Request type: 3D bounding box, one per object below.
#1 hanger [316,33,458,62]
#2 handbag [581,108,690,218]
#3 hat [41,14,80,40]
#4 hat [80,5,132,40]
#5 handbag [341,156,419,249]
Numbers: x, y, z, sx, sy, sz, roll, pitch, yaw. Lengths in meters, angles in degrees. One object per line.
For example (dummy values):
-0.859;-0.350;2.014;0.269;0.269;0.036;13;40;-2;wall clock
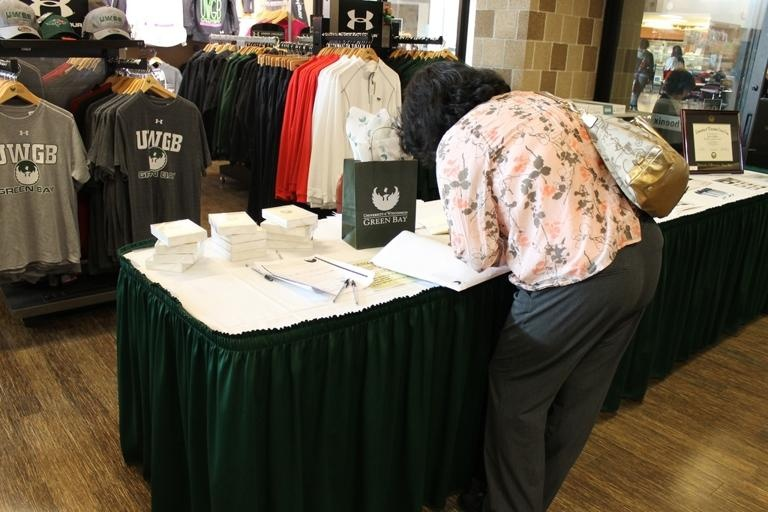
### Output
0.007;-1.845;4.841;1.168;0.244;0.584;-19;27;-39;hanger
1.007;-0.371;2.225;0.381;0.400;0.309;-7;20;-15;handbag
-2.276;-1.541;3.805;0.188;0.122;0.277;-18;45;-35;hat
-1.961;-1.638;3.848;0.225;0.186;0.314;-12;33;-36;hat
-0.031;-0.274;2.716;0.343;0.444;0.251;-7;16;-27;handbag
